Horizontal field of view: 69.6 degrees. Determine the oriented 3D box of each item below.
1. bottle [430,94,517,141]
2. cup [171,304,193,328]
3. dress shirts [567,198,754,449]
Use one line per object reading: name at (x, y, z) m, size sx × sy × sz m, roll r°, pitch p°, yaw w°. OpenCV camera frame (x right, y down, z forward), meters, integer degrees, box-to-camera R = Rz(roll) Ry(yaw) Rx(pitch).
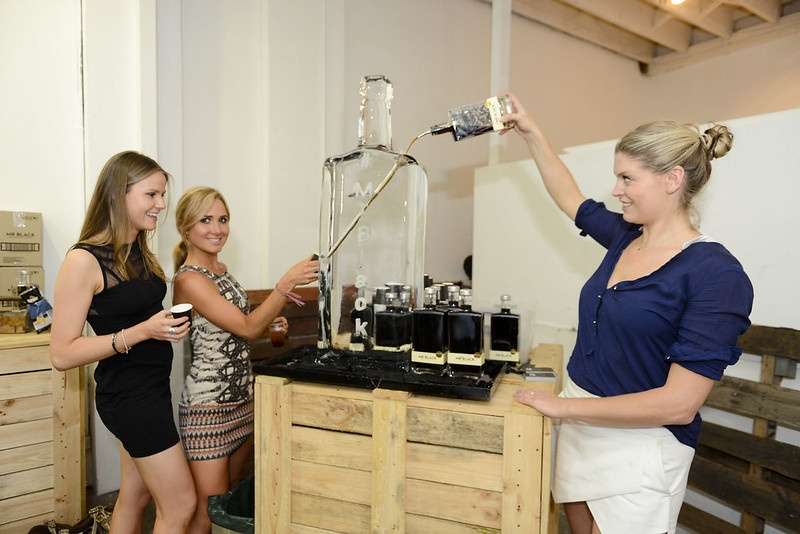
bottle at (0.354, -0.706, 2.793) m, size 0.387 × 0.199 × 0.118 m, roll -13°, pitch -4°, yaw -5°
cup at (-1.029, 0.225, 2.717) m, size 0.095 × 0.104 × 0.097 m, roll 3°, pitch 12°, yaw -1°
dress shirts at (1.040, 0.187, 2.496) m, size 0.356 × 0.788 × 0.773 m, roll -6°, pitch 15°, yaw -37°
